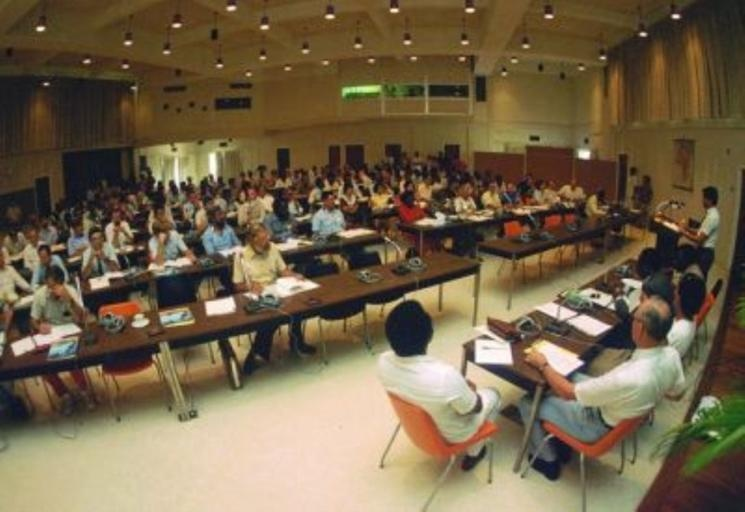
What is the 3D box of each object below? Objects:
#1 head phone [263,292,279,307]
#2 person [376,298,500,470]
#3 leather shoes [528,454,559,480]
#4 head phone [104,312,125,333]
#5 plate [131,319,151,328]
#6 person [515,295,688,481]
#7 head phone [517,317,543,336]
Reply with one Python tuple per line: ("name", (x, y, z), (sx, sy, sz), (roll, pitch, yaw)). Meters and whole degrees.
("head phone", (-1.302, 0.549, 6.726), (0.132, 0.072, 0.169), (-4, 8, -29))
("person", (0.609, 1.131, 5.271), (1.129, 1.501, 0.488), (-6, 11, -2))
("leather shoes", (1.845, 2.250, 5.737), (0.284, 0.110, 0.287), (-5, 16, -32))
("head phone", (-3.069, 0.780, 6.374), (0.230, 0.227, 0.188), (8, 7, 25))
("plate", (-2.809, 0.815, 6.410), (0.205, 0.077, 0.127), (-10, 13, -20))
("person", (2.312, 1.378, 5.417), (1.471, 1.953, 0.632), (0, 12, 26))
("head phone", (1.779, 0.823, 6.222), (0.211, 0.107, 0.246), (-7, 24, -10))
